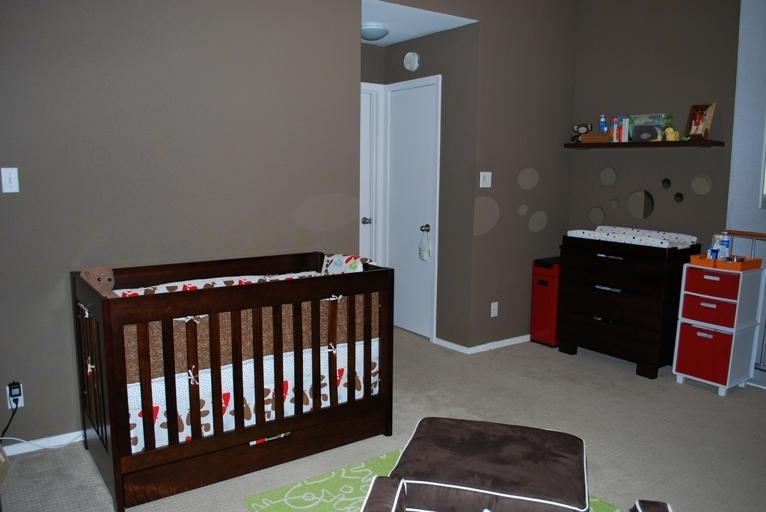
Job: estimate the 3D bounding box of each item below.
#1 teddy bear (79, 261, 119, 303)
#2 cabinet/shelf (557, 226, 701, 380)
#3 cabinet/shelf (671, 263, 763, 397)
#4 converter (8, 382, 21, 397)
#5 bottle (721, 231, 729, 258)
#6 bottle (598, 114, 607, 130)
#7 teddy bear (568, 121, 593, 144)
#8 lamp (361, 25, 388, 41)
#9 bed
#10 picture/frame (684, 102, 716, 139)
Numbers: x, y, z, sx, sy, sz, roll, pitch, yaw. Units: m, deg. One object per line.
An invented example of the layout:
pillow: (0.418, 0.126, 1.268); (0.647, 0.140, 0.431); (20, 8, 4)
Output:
teddy bear: (-1.751, 0.163, 3.672); (0.178, 0.173, 0.118); (0, -18, -45)
cabinet/shelf: (2.089, 0.399, 4.816); (0.712, 1.338, 1.113); (-3, 6, -36)
cabinet/shelf: (2.626, 0.544, 4.463); (0.644, 1.040, 0.312); (-2, 10, 5)
converter: (-2.311, 0.857, 3.698); (0.077, 0.100, 0.032); (-9, 12, -31)
bottle: (2.639, -0.081, 4.473); (0.067, 0.189, 0.116); (4, 12, 32)
bottle: (2.021, -1.237, 5.314); (0.071, 0.158, 0.271); (1, 11, 20)
teddy bear: (1.857, -1.162, 5.401); (0.276, 0.276, 0.075); (1, 0, 35)
lamp: (-0.057, -1.869, 4.791); (0.206, 0.091, 0.193); (-2, 10, 4)
bed: (-1.059, 0.449, 3.938); (2.295, 1.509, 1.299); (-6, 12, -30)
picture/frame: (2.556, -1.100, 4.692); (0.197, 0.276, 0.119); (3, 11, 30)
